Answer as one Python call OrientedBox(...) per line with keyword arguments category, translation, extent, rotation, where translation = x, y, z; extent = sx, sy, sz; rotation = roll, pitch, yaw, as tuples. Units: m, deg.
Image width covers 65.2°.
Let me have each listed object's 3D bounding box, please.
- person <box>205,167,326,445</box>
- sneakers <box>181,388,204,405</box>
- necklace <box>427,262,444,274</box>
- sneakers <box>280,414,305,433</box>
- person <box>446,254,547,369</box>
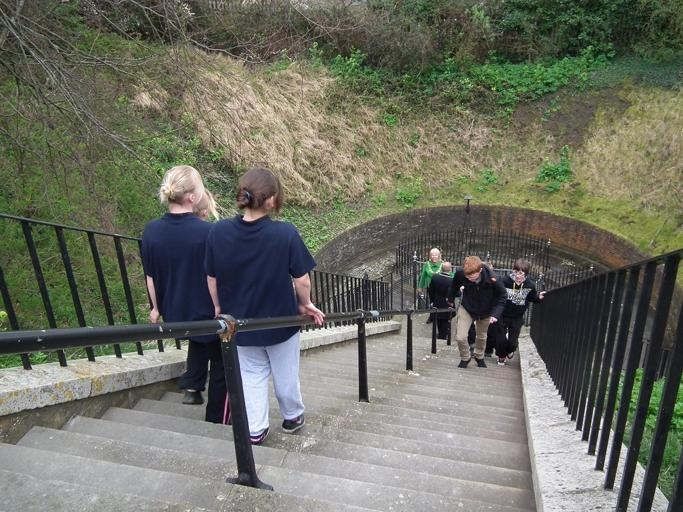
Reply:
OrientedBox(category="person", translation=(-0.551, 0.381, 3.887), extent=(0.819, 2.002, 0.554), rotation=(-3, 12, -11))
OrientedBox(category="sneakers", translation=(-1.220, 1.151, 4.456), extent=(0.086, 0.140, 0.205), rotation=(3, 4, 9))
OrientedBox(category="necklace", translation=(1.644, 0.209, 9.461), extent=(0.183, 0.203, 0.218), rotation=(-7, 20, 7))
OrientedBox(category="sneakers", translation=(-0.370, 1.267, 4.070), extent=(0.079, 0.094, 0.207), rotation=(7, 14, 30))
OrientedBox(category="person", translation=(2.003, 0.793, 7.425), extent=(0.683, 1.781, 1.349), rotation=(11, 16, 42))
